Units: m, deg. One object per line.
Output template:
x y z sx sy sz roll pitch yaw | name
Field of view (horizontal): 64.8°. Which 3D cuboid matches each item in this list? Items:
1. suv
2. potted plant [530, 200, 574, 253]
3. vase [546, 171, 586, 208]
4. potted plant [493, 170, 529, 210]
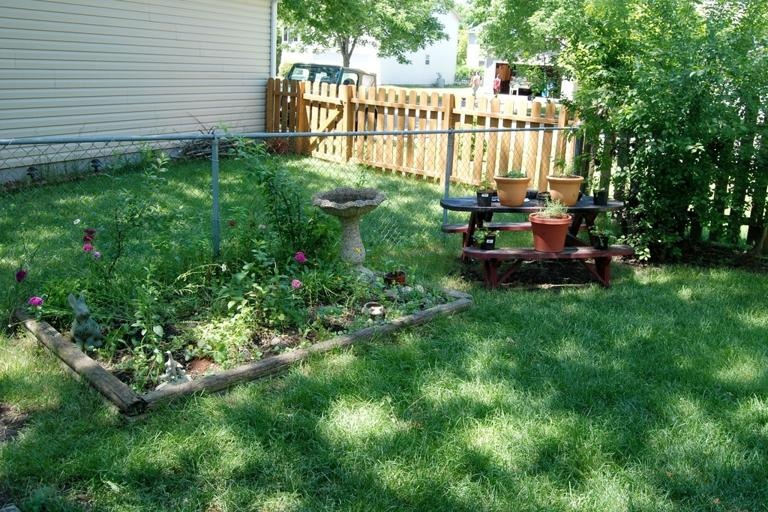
-1.356 -4.321 16.863 2.104 1.865 3.228 11 18 29 | suv
1.916 -0.348 7.042 0.529 0.558 0.511 -3 13 -4 | potted plant
2.197 -0.800 7.313 0.389 0.301 0.399 5 13 29 | vase
1.545 -0.782 7.479 0.472 0.366 0.490 0 5 37 | potted plant
